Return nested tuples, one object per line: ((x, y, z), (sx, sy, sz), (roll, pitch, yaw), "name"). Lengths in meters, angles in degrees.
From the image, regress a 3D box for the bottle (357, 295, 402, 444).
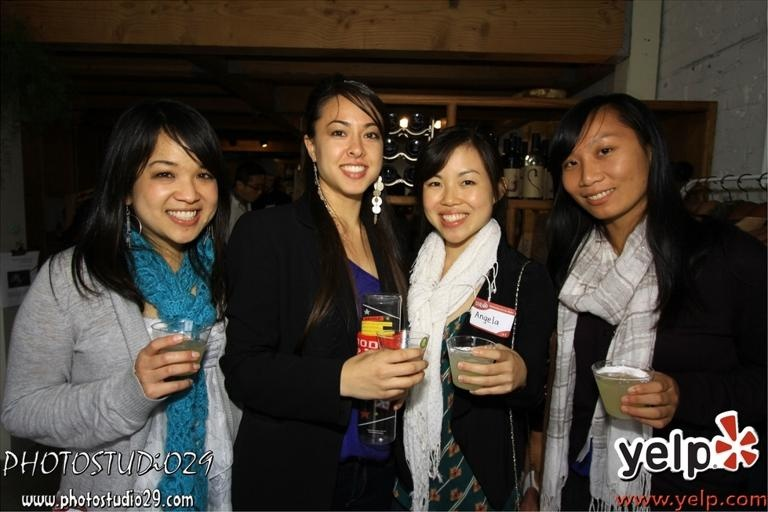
((-0.006, 0.551, 2.535), (0.177, 0.748, 0.304), (-2, -2, -33), "bottle")

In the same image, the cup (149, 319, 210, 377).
((-0.927, 0.430, 2.524), (0.271, 0.218, 0.289), (-1, -12, 0), "cup")

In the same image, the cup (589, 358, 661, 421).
((1.098, 0.603, 2.530), (0.269, 0.195, 0.262), (3, -3, 0), "cup")

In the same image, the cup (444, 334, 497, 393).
((0.372, 0.496, 2.528), (0.263, 0.223, 0.237), (3, -6, -18), "cup")
